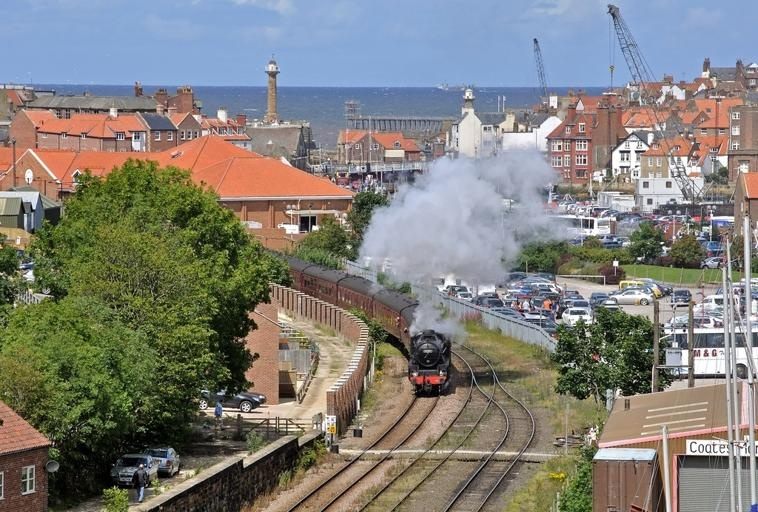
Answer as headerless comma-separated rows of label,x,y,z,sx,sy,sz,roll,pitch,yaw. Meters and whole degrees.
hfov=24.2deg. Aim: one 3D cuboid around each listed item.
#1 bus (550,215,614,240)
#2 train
bus,20.530,-2.334,171.705,2.481,2.239,7.389,-1,6,-22
train,-1.495,3.837,131.151,4.324,6.538,33.442,-1,7,-12
